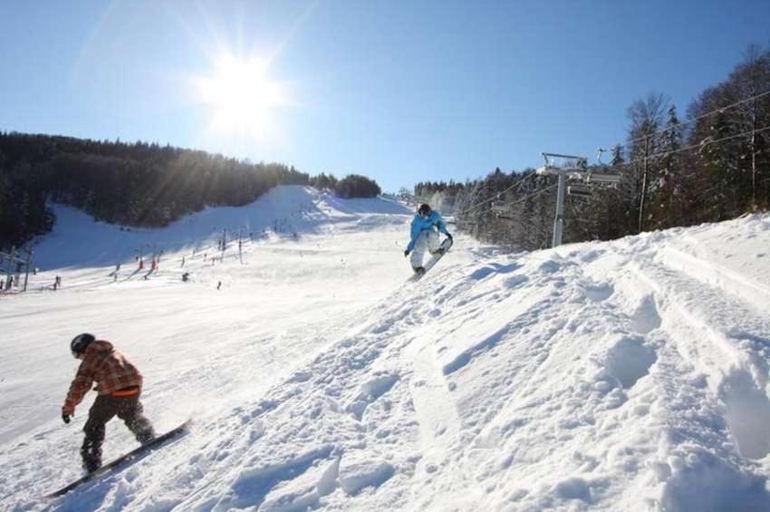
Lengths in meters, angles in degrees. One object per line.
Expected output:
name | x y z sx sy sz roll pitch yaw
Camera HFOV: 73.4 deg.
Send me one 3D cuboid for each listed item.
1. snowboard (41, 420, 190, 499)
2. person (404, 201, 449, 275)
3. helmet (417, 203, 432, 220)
snowboard | -5.247 4.021 10.090 2.587 0.151 0.292 -28 30 -36
person | 1.161 -0.498 14.893 1.056 2.107 1.547 0 1 7
helmet | 1.051 -1.244 14.355 0.312 0.399 0.319 18 8 19
